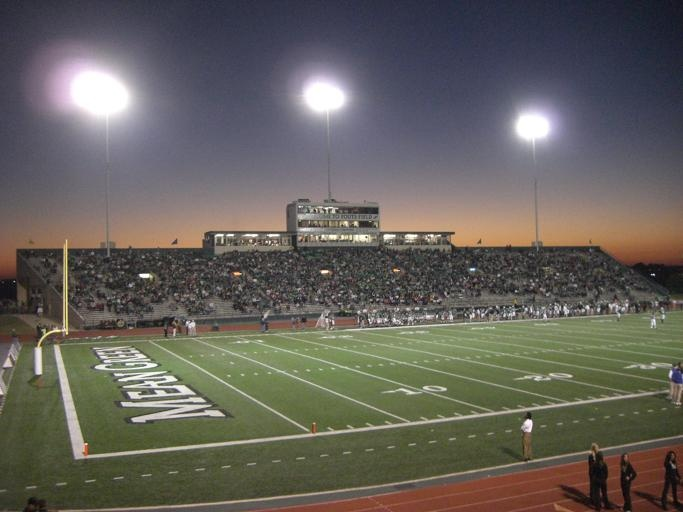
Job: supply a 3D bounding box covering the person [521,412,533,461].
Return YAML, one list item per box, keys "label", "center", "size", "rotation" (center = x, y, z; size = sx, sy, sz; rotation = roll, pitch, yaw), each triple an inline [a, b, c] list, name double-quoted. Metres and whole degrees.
- label: "person"
  center: [5.384, 5.145, 17.288]
  size: [0.284, 1.369, 0.981]
  rotation: [-1, -2, 15]

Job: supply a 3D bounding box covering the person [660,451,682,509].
- label: "person"
  center: [8.210, 5.478, 14.818]
  size: [0.437, 1.373, 1.050]
  rotation: [-2, -3, 29]

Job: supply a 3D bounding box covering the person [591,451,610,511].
- label: "person"
  center: [6.302, 5.465, 14.445]
  size: [0.286, 1.372, 0.539]
  rotation: [-3, -3, 37]
